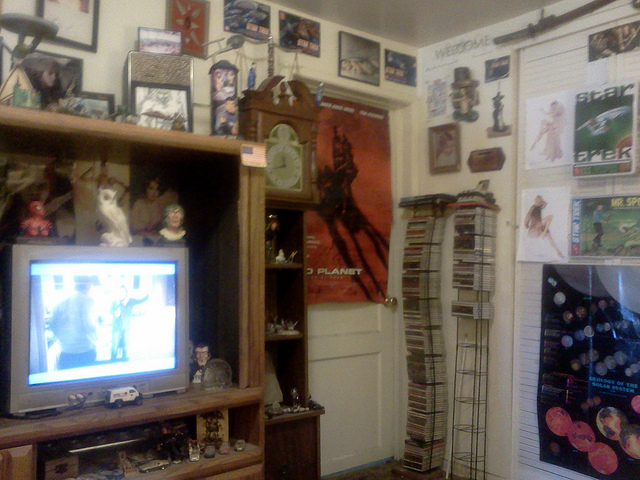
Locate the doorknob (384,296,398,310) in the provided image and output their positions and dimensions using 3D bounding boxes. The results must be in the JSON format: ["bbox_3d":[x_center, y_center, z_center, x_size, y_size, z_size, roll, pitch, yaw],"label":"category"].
[{"bbox_3d":[0.551,0.467,4.091,0.070,0.069,0.100,1,-10,5],"label":"doorknob"}]

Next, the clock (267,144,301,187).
[{"bbox_3d":[-0.223,-0.443,3.213,0.239,0.261,0.034,2,-5,-32],"label":"clock"}]

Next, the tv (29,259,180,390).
[{"bbox_3d":[-1.012,0.391,2.483,0.569,0.517,0.205,1,-4,-30],"label":"tv"}]
